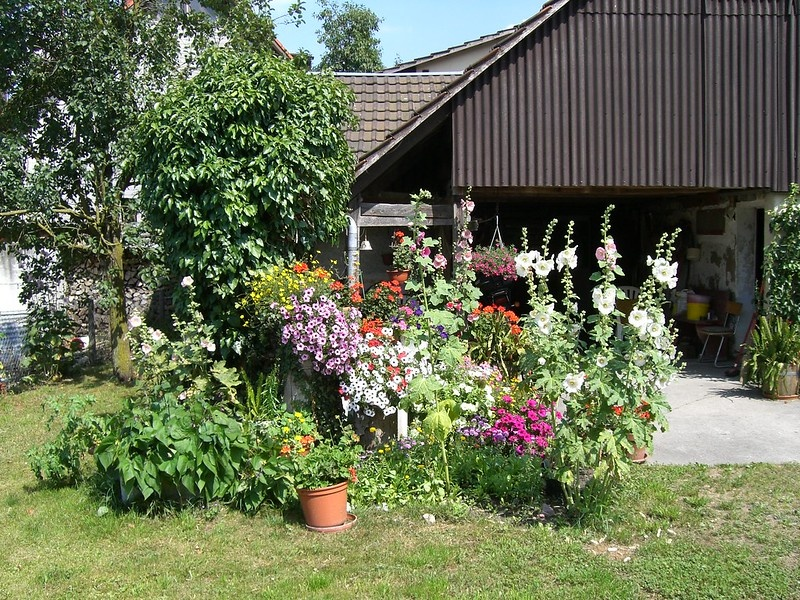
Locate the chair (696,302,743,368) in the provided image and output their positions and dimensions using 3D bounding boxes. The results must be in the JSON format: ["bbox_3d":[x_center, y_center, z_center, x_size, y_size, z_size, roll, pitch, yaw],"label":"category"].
[{"bbox_3d":[6.033,0.629,13.897,0.742,1.204,0.706,-5,5,-21],"label":"chair"}]

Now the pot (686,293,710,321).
[{"bbox_3d":[5.870,0.147,14.543,0.416,0.539,0.458,1,3,2],"label":"pot"}]

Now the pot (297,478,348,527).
[{"bbox_3d":[-0.816,2.188,7.858,0.425,0.357,0.458,-6,-6,-1],"label":"pot"}]

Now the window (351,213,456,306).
[{"bbox_3d":[0.195,-0.725,10.523,0.584,1.228,0.775,11,-11,20],"label":"window"}]
